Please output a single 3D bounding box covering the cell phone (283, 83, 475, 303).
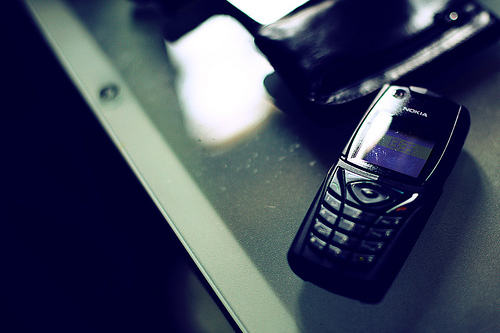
[{"bbox_3d":[0.169,0.033,0.646,0.160,0.336,0.064,23,-12,26],"label":"cell phone"}]
